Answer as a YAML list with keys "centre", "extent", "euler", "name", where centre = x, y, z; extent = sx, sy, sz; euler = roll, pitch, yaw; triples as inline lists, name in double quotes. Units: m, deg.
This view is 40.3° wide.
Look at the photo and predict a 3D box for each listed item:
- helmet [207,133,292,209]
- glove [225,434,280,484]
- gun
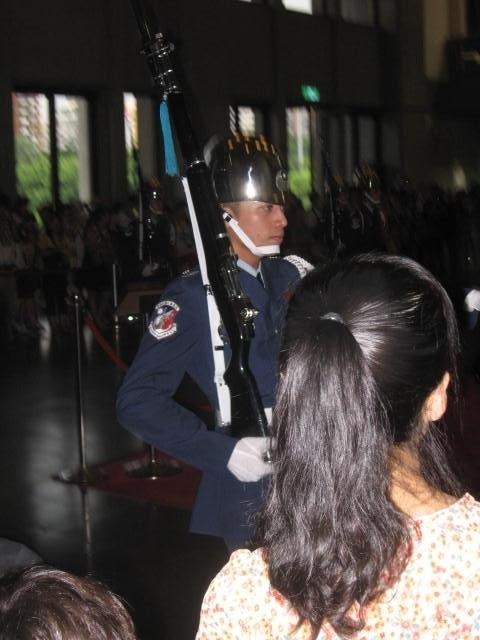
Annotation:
- centre: [0.016, -0.322, 1.551]
  extent: [0.176, 0.179, 0.146]
  euler: [21, 12, 14]
  name: "helmet"
- centre: [0.025, 0.278, 1.306]
  extent: [0.105, 0.084, 0.043]
  euler: [5, 11, 37]
  name: "glove"
- centre: [-0.067, -0.235, 1.418]
  extent: [0.192, 0.926, 0.368]
  euler: [-7, 10, -32]
  name: "gun"
